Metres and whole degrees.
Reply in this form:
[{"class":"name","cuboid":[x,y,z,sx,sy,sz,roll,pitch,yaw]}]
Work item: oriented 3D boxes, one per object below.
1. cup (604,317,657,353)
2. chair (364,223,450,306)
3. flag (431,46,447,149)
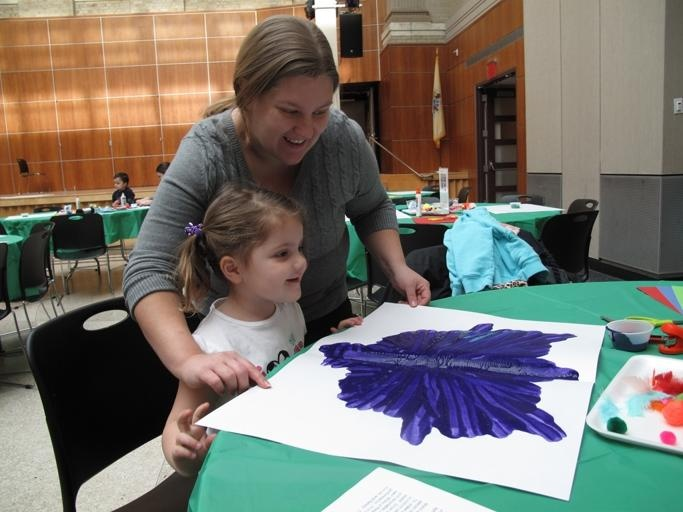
[{"class":"cup","cuboid":[0.584,0.155,0.992,0.072,0.033,0.062,-7,11,-16]},{"class":"chair","cuboid":[0.270,0.024,1.917,0.256,0.496,0.307,7,44,14]},{"class":"flag","cuboid":[1.901,-3.159,9.728,0.249,1.896,0.383,-3,8,15]}]
